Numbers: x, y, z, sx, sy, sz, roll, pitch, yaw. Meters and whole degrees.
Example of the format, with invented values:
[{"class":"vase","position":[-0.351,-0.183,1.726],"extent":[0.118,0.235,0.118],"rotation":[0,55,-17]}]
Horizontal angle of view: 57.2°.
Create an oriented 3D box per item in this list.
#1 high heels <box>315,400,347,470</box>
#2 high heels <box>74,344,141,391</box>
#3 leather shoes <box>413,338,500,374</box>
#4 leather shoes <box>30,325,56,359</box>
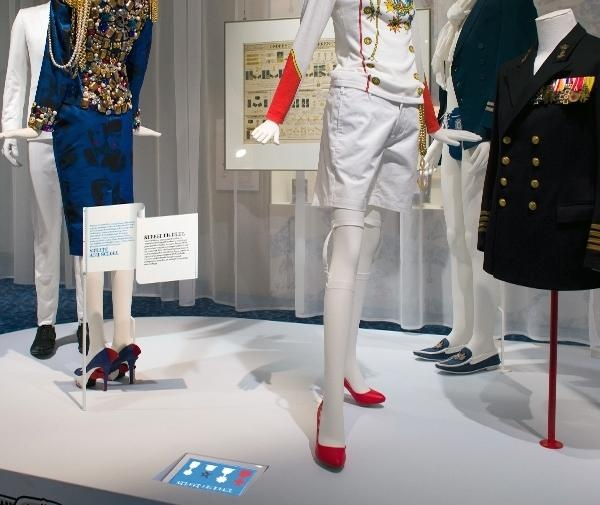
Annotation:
[{"class":"high heels","position":[0.101,0.583,1.807],"extent":[0.086,0.144,0.315],"rotation":[5,3,0]},{"class":"high heels","position":[-0.770,0.435,2.238],"extent":[0.255,0.128,0.152],"rotation":[1,1,44]},{"class":"leather shoes","position":[0.745,0.482,2.488],"extent":[0.206,0.081,0.184],"rotation":[2,-1,-20]},{"class":"leather shoes","position":[-1.252,0.434,2.687],"extent":[0.071,0.101,0.213],"rotation":[2,6,-10]}]
